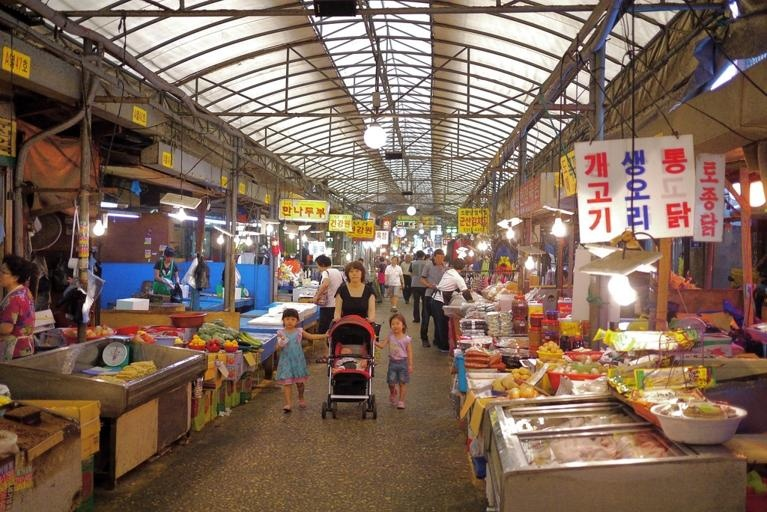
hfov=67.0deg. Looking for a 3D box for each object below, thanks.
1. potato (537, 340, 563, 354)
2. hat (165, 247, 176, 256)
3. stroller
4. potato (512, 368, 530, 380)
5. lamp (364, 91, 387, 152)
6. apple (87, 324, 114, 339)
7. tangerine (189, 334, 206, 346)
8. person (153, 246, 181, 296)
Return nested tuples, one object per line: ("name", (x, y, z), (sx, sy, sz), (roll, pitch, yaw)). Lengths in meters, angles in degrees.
("potato", (2.006, 1.098, 7.067), (0.257, 0.072, 0.308), (4, 10, 11))
("hat", (-5.061, -0.121, 13.710), (0.215, 0.167, 0.297), (6, -14, -22))
("stroller", (-0.501, 1.547, 8.189), (0.782, 1.391, 0.743), (1, 10, -5))
("potato", (1.533, 1.322, 6.544), (0.140, 0.058, 0.107), (-1, 1, 33))
("lamp", (-0.188, -2.713, 11.543), (0.550, 1.151, 0.554), (-8, 22, -26))
("apple", (-4.114, 1.092, 8.421), (0.282, 0.103, 0.313), (2, -3, -1))
("tangerine", (-2.692, 1.199, 8.322), (0.162, 0.074, 0.152), (5, 4, 36))
("person", (-4.827, 0.326, 12.820), (0.544, 1.036, 1.091), (-2, 11, -22))
